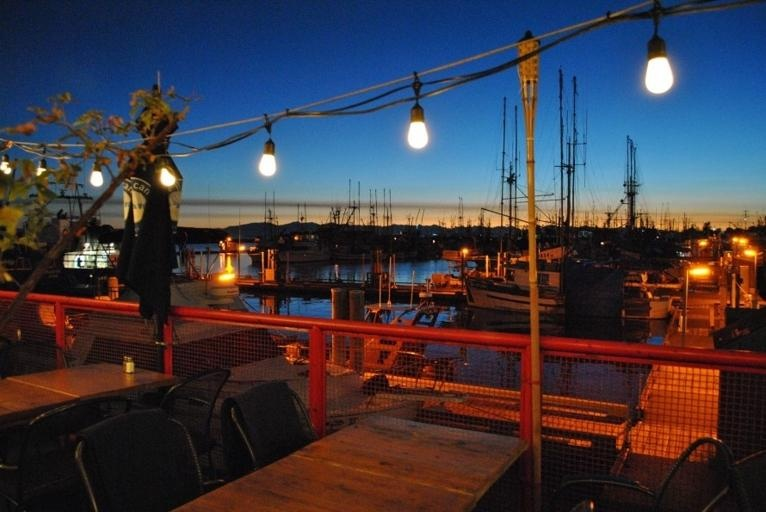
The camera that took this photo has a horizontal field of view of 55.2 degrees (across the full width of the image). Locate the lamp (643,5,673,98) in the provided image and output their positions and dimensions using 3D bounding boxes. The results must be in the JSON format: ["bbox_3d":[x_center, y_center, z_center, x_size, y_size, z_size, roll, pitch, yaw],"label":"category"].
[{"bbox_3d":[2.958,-2.155,7.877,0.294,0.910,0.634,0,1,20],"label":"lamp"}]

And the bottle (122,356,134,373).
[{"bbox_3d":[-3.005,1.303,8.677,0.128,0.183,0.068,5,9,16],"label":"bottle"}]
